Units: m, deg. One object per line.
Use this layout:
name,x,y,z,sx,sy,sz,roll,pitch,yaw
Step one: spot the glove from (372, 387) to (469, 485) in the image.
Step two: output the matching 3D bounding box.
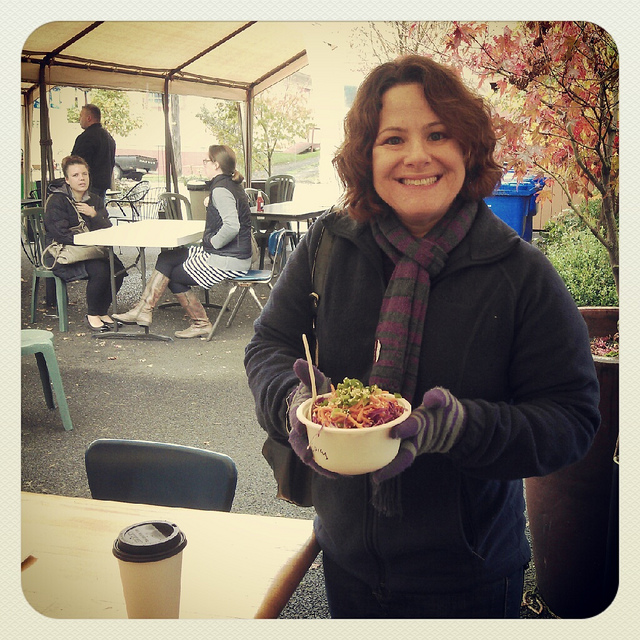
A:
glove,0.194,0.197,1.073,0.195,0.084,0.136,-37,-6,-41

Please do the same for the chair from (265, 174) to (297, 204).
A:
chair,-0.672,-2.165,9.615,0.430,0.695,0.498,-3,30,-9

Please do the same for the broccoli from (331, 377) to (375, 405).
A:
broccoli,0.056,0.132,1.062,0.052,0.021,0.052,-16,19,9

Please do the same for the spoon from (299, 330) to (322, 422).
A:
spoon,-0.015,0.106,1.136,0.039,0.167,0.046,6,-16,-21

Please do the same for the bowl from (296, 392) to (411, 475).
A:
bowl,0.048,0.211,1.084,0.210,0.109,0.213,0,5,0

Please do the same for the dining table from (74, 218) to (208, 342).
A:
dining table,-1.885,-0.394,6.123,0.670,0.675,1.354,5,18,5

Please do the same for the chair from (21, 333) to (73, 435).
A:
chair,-1.893,0.435,4.035,0.246,0.695,0.350,-6,12,-25

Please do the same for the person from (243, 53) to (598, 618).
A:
person,0.182,0.104,1.316,0.630,1.353,0.584,-5,12,-20

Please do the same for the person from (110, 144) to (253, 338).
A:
person,-1.254,-0.750,5.831,1.106,1.911,0.434,2,12,16

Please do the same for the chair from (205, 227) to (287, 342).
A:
chair,-0.711,-0.377,6.024,0.736,1.087,0.748,6,10,13

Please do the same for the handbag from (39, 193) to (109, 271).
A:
handbag,-2.466,-0.871,5.852,0.753,0.767,0.426,0,12,5
